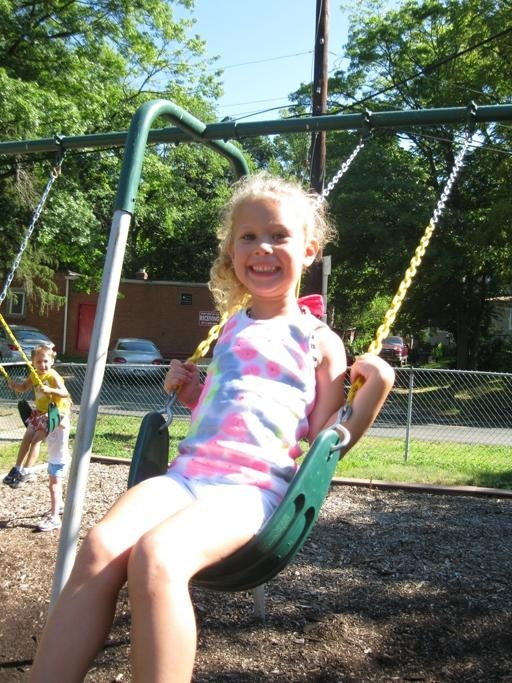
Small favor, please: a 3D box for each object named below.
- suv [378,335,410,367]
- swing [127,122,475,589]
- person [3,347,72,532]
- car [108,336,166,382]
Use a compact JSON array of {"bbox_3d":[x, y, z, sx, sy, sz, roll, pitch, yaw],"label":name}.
[{"bbox_3d":[4.592,0.323,22.483,1.190,0.963,2.353,0,-4,18],"label":"suv"},{"bbox_3d":[0.148,-0.131,2.105,0.535,1.742,0.183,12,-42,8],"label":"swing"},{"bbox_3d":[-1.245,0.575,4.270,0.561,1.105,0.375,0,0,45],"label":"person"},{"bbox_3d":[-2.861,0.215,15.352,1.261,0.779,2.642,2,12,-19],"label":"car"}]
